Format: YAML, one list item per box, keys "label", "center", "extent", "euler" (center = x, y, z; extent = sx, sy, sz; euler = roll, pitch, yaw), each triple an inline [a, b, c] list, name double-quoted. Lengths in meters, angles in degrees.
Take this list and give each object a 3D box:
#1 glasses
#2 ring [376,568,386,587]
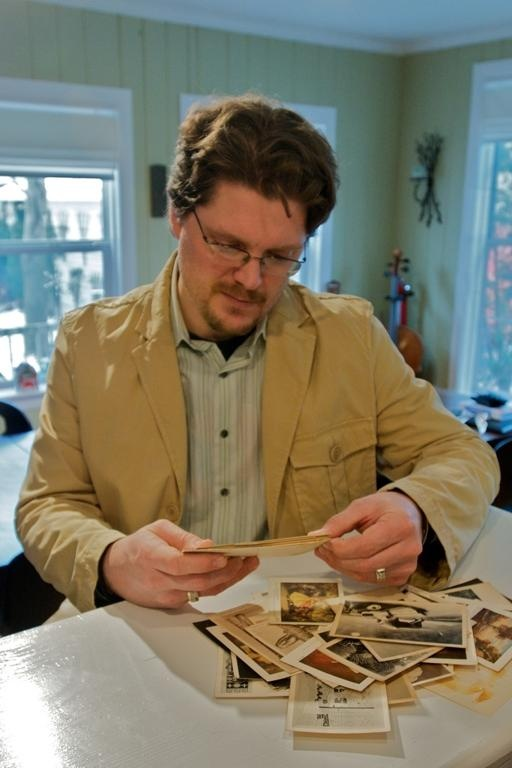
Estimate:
- label: "glasses"
  center: [0.012, -0.285, 1.243]
  extent: [0.242, 0.131, 0.130]
  euler: [-7, 11, -34]
- label: "ring"
  center: [0.191, 0.297, 0.952]
  extent: [0.014, 0.024, 0.023]
  euler: [0, -7, 1]
